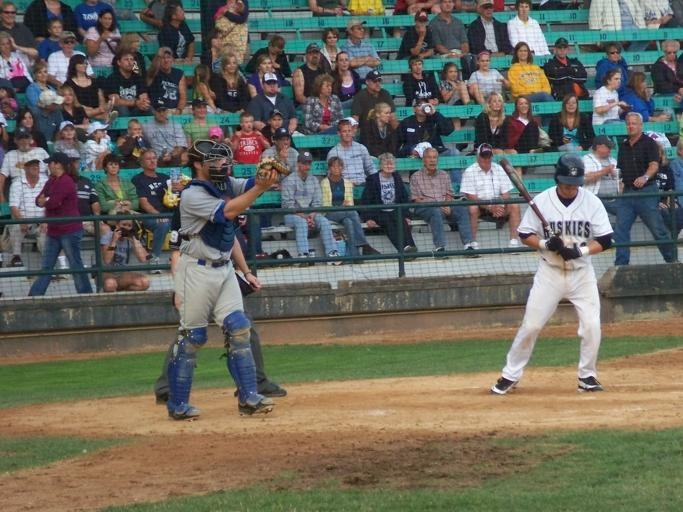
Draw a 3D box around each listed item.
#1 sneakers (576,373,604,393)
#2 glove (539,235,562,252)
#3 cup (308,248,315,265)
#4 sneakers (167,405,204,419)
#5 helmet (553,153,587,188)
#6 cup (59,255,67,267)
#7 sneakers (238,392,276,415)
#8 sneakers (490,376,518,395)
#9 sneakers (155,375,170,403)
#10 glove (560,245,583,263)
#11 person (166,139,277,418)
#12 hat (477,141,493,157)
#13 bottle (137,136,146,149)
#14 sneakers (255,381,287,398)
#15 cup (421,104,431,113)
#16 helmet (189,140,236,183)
[{"bbox_3d":[3.324,1.733,21.748,0.308,0.141,0.172,-4,-3,43],"label":"sneakers"},{"bbox_3d":[2.784,-0.152,21.634,0.183,0.197,0.300,-4,1,-33],"label":"glove"},{"bbox_3d":[-0.473,0.026,25.970,0.097,0.266,0.104,-3,1,0],"label":"cup"},{"bbox_3d":[-2.050,2.021,21.077,0.334,0.156,0.181,-5,-4,16],"label":"sneakers"},{"bbox_3d":[3.074,-1.161,21.827,0.443,0.362,0.608,4,20,3],"label":"helmet"},{"bbox_3d":[-4.346,0.101,25.326,0.131,0.198,0.298,-3,0,-17],"label":"cup"},{"bbox_3d":[-1.120,1.930,21.131,0.436,0.232,0.238,-13,-3,25],"label":"sneakers"},{"bbox_3d":[2.188,1.746,21.879,0.169,0.157,0.385,16,24,37],"label":"sneakers"},{"bbox_3d":[-2.347,1.765,21.267,0.227,0.303,0.115,1,-5,44],"label":"sneakers"},{"bbox_3d":[3.058,-0.021,21.615,0.316,0.184,0.122,-3,1,-6],"label":"glove"},{"bbox_3d":[-1.616,0.303,21.011,1.579,3.515,0.906,-3,1,8],"label":"person"},{"bbox_3d":[2.361,-1.725,26.888,0.236,0.205,0.379,-3,0,7],"label":"hat"},{"bbox_3d":[-3.308,-1.849,26.723,0.084,0.081,0.196,-28,18,-1],"label":"bottle"},{"bbox_3d":[-0.952,1.805,21.891,0.463,0.194,0.164,0,11,-5],"label":"sneakers"},{"bbox_3d":[1.448,-2.495,27.743,0.122,0.138,0.077,1,26,-1],"label":"cup"},{"bbox_3d":[-1.693,-1.175,21.131,0.586,0.527,0.492,-1,-12,26],"label":"helmet"}]
